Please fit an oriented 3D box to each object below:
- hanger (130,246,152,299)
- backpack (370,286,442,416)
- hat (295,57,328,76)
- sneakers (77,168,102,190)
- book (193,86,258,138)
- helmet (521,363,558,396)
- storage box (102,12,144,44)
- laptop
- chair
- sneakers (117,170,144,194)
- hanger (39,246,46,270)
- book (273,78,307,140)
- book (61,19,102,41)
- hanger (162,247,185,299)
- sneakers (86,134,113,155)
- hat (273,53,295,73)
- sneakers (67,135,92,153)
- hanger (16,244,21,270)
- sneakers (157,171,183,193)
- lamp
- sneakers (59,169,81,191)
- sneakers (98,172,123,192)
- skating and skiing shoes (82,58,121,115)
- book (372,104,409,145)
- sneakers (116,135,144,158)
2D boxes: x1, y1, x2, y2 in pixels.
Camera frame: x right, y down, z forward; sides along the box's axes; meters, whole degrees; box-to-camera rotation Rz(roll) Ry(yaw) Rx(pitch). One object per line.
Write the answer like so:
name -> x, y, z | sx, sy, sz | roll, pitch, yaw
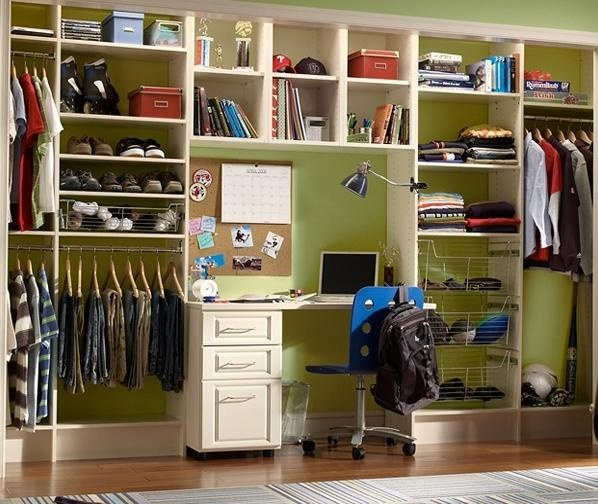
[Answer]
hanger -> -1.016, 0.122, 4.077 | 0.021, 0.281, 0.439 | -6, 14, -25
backpack -> 0.641, 0.585, 3.813 | 0.390, 0.712, 0.303 | -2, 4, -19
hat -> 0.089, -1.261, 4.315 | 0.127, 0.096, 0.185 | -6, 15, -44
sneakers -> -1.273, -0.435, 3.852 | 0.139, 0.122, 0.183 | -3, 5, -20
book -> -0.504, -0.868, 4.095 | 0.316, 0.120, 0.335 | 0, 2, -26
helmet -> 1.769, 0.943, 4.734 | 0.229, 0.240, 0.191 | 18, -14, 4
storage box -> -1.126, -1.408, 3.997 | 0.222, 0.179, 0.283 | -9, 16, -34
laptop -> 0.338, 0.151, 4.339 | 0.394, 0.405, 0.281 | 1, -23, 9
chair -> 0.434, 0.760, 4.139 | 0.614, 1.030, 0.614 | 1, -3, -22
sneakers -> -1.029, -0.420, 3.893 | 0.079, 0.101, 0.241 | -1, 11, -21
hanger -> -1.572, 0.029, 3.897 | 0.054, 0.143, 0.317 | -3, 5, -22
book -> -0.054, -0.946, 4.191 | 0.272, 0.410, 0.084 | -4, 5, -37
book -> -1.306, -1.333, 3.801 | 0.226, 0.134, 0.077 | -3, 5, -23
hanger -> -0.819, 0.109, 4.123 | 0.034, 0.274, 0.466 | -4, 10, -24
sneakers -> -1.249, -0.681, 3.979 | 0.090, 0.103, 0.265 | -1, 9, -27
hat -> -0.099, -1.272, 4.255 | 0.152, 0.136, 0.149 | -1, 5, -2
sneakers -> -1.331, -0.651, 3.865 | 0.143, 0.119, 0.203 | -3, 5, -19
hanger -> -1.700, 0.034, 3.835 | 0.023, 0.155, 0.385 | -3, 5, -23
sneakers -> -0.808, -0.447, 4.003 | 0.079, 0.112, 0.241 | 0, 3, -24
lamp -> 0.561, -0.510, 4.413 | 0.566, 0.259, 0.597 | -1, 5, -4
sneakers -> -1.366, -0.439, 3.775 | 0.080, 0.090, 0.216 | 0, 1, -16
sneakers -> -1.146, -0.424, 3.912 | 0.077, 0.107, 0.240 | -2, 9, -20
skating and skiing shoes -> -1.230, -1.051, 4.038 | 0.124, 0.303, 0.423 | 4, 10, 10
book -> 0.623, -0.849, 4.460 | 0.231, 0.336, 0.327 | 5, -7, -5
sneakers -> -1.049, -0.660, 3.960 | 0.091, 0.103, 0.251 | -1, -1, -23
